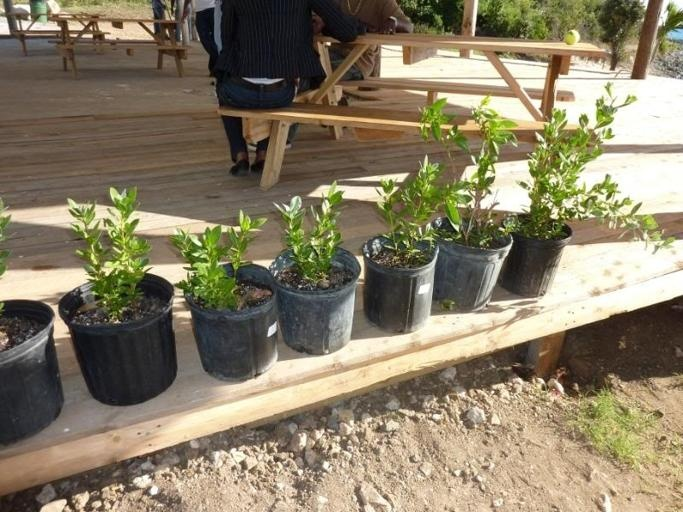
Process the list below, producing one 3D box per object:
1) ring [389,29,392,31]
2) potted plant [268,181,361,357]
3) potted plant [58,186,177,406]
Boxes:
[{"bbox_3d":[0.420,-1.928,4.053,0.025,0.015,0.021,8,42,12],"label":"ring"},{"bbox_3d":[-0.109,0.048,1.958,0.370,0.707,0.294,3,30,1],"label":"potted plant"},{"bbox_3d":[-0.925,0.034,1.974,0.387,0.796,0.920,-10,30,-21],"label":"potted plant"}]
